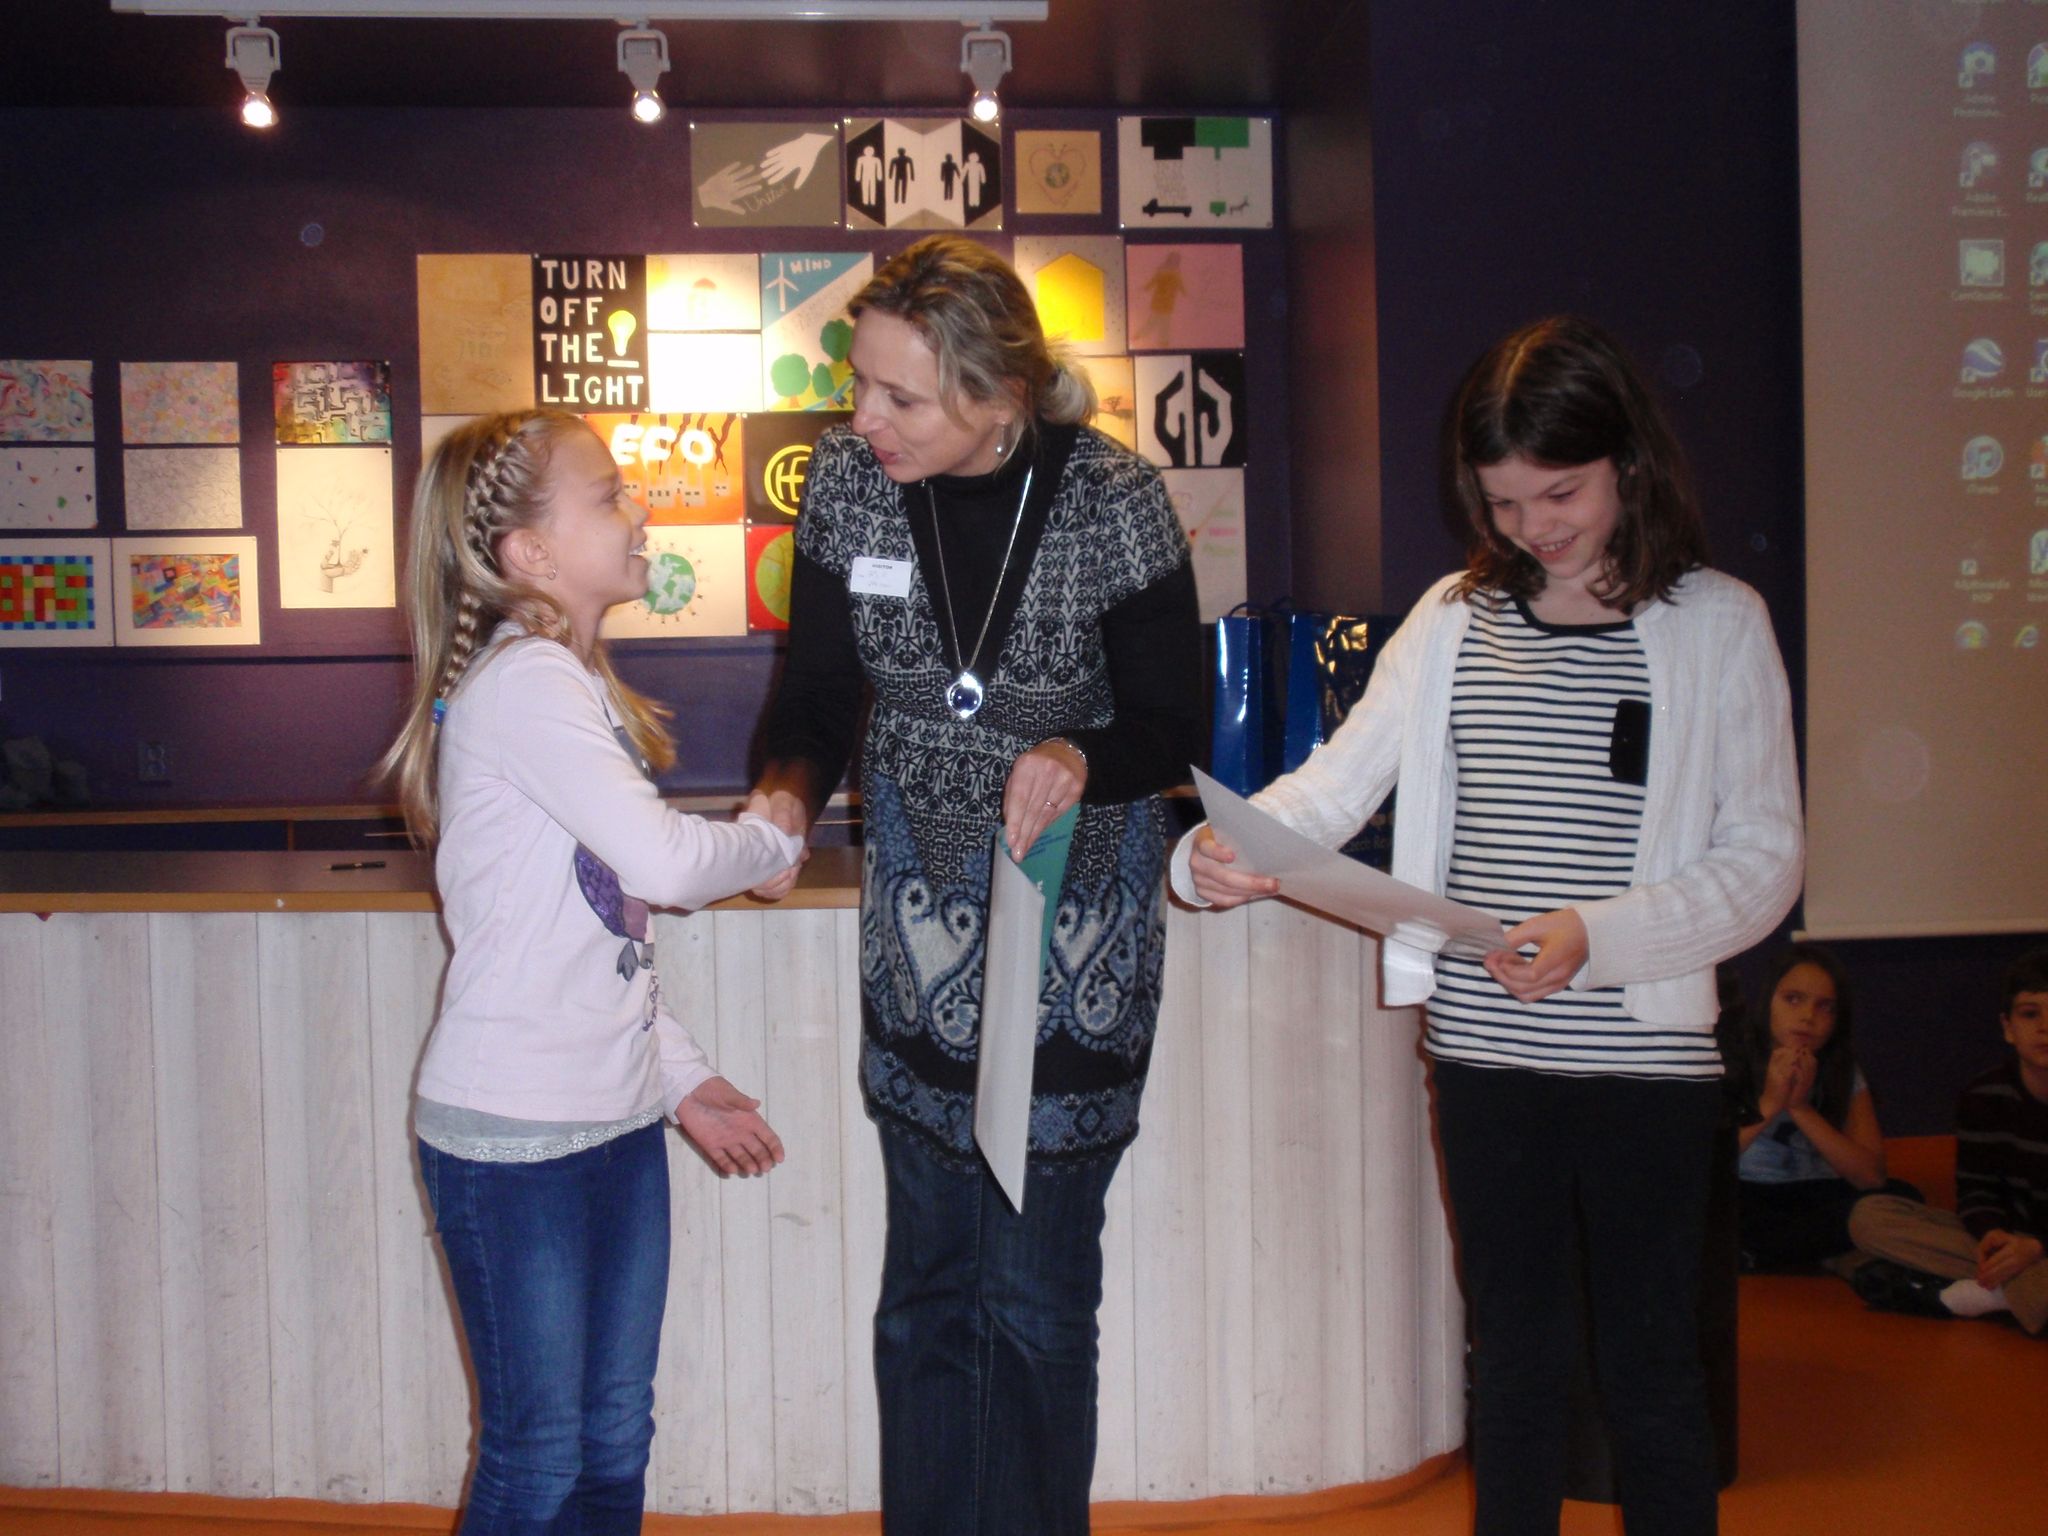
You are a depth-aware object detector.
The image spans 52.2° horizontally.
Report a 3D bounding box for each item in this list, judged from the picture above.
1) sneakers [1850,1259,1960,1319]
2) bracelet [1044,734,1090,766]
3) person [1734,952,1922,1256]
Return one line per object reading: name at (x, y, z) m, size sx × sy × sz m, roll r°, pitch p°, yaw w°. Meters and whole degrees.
sneakers at (2.178, 1.278, 5.172) m, size 0.239 × 0.089 × 0.177 m, roll 15°, pitch 19°, yaw 13°
bracelet at (0.072, -0.034, 3.546) m, size 0.043 × 0.059 × 0.044 m, roll 0°, pitch -42°, yaw -48°
person at (1.997, 0.872, 5.444) m, size 0.565 × 0.806 × 0.531 m, roll 3°, pitch -2°, yaw -27°
